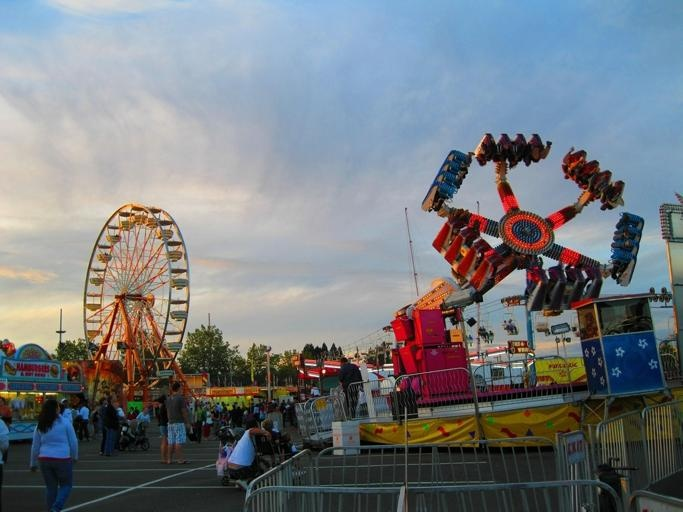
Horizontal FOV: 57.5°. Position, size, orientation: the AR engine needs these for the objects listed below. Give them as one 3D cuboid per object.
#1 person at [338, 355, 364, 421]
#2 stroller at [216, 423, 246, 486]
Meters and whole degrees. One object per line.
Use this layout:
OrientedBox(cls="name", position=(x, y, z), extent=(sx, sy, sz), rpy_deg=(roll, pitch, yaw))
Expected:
OrientedBox(cls="person", position=(0.252, 3.380, 16.186), extent=(0.561, 1.561, 0.995), rpy_deg=(-5, -13, -2))
OrientedBox(cls="stroller", position=(-2.284, 3.910, 12.445), extent=(0.703, 1.182, 0.567), rpy_deg=(-3, -10, 40))
